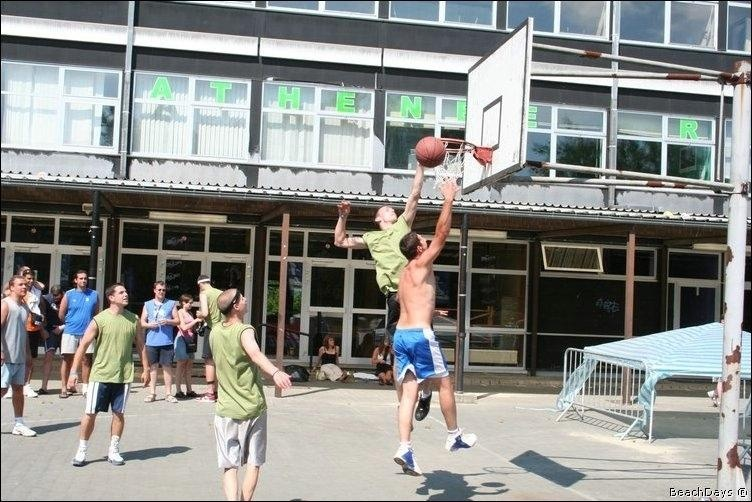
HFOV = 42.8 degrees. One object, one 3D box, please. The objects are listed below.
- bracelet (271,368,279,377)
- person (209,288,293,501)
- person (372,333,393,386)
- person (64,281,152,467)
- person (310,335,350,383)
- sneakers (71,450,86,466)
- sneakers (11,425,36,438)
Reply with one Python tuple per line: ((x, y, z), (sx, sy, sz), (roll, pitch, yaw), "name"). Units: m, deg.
((-1.588, 1.958, 15.273), (0.080, 0.036, 0.108), (-3, 23, 46), "bracelet")
((-2.104, 2.316, 15.532), (1.102, 3.360, 0.515), (1, -3, 21), "person")
((0.256, 2.764, 24.169), (0.679, 1.110, 1.139), (1, 11, -5), "person")
((-4.770, 2.210, 17.155), (1.065, 3.222, 0.357), (3, -3, -15), "person")
((-1.093, 2.769, 24.393), (0.775, 1.109, 1.160), (0, 5, -23), "person")
((-5.207, 3.670, 16.993), (0.192, 0.267, 0.290), (0, -3, 30), "sneakers")
((-6.625, 3.417, 18.133), (0.508, 0.193, 0.189), (3, -1, 1), "sneakers")
